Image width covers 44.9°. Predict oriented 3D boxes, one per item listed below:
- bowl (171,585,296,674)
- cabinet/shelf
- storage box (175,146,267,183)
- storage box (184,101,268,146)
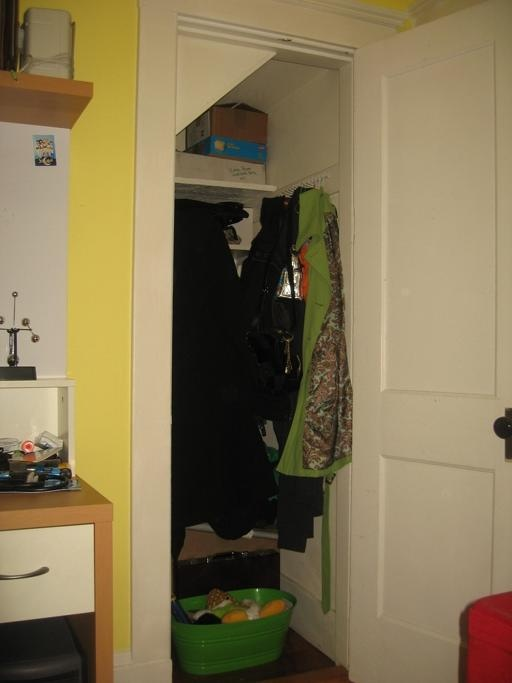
[{"bbox_3d":[-0.088,1.019,2.182,0.334,0.148,0.223,2,-11,-22],"label":"bowl"},{"bbox_3d":[-0.145,-0.544,2.662,0.452,0.282,0.436,0,3,-16],"label":"cabinet/shelf"},{"bbox_3d":[-0.149,-0.736,2.655,0.083,0.127,0.476,4,4,44],"label":"storage box"},{"bbox_3d":[-0.119,-0.947,2.750,0.236,0.174,0.248,1,-1,-29],"label":"storage box"}]
